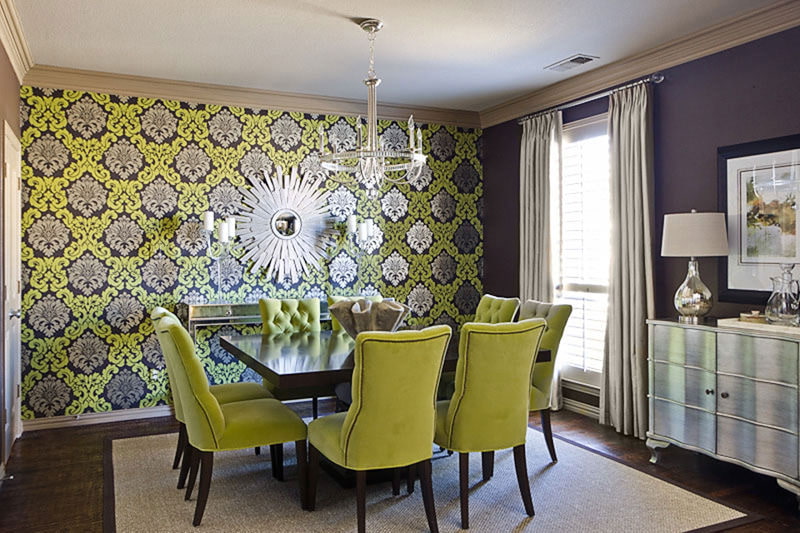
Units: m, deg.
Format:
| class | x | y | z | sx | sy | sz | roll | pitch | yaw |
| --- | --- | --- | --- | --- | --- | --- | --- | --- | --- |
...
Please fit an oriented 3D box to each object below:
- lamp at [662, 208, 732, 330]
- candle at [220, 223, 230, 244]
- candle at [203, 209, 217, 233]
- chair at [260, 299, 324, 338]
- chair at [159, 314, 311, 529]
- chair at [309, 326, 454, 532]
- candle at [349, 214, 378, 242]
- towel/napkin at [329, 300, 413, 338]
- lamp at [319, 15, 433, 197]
| class | x | y | z | sx | sy | sz | roll | pitch | yaw |
| --- | --- | --- | --- | --- | --- | --- | --- | --- | --- |
| lamp | 2.373 | -0.006 | 4.790 | 0.528 | 0.848 | 0.411 | -4 | 5 | -30 |
| candle | -1.744 | -0.347 | 5.937 | 0.085 | 0.173 | 0.042 | -3 | 5 | -16 |
| candle | -1.903 | -0.451 | 5.994 | 0.116 | 0.214 | 0.172 | -3 | 4 | -21 |
| chair | -1.004 | 0.477 | 5.540 | 0.359 | 0.536 | 0.425 | 2 | -6 | -23 |
| chair | -1.257 | 1.013 | 4.917 | 1.310 | 1.985 | 1.217 | -1 | 3 | -23 |
| chair | -0.127 | 1.041 | 3.834 | 0.944 | 1.324 | 0.442 | -1 | 4 | 7 |
| candle | -0.423 | -0.426 | 6.558 | 0.326 | 0.334 | 0.188 | 2 | 1 | 6 |
| towel/napkin | -0.268 | 0.379 | 4.529 | 0.353 | 0.201 | 0.375 | 4 | -6 | -16 |
| lamp | -0.215 | -1.344 | 4.948 | 0.837 | 1.397 | 0.855 | -7 | 31 | -10 |
